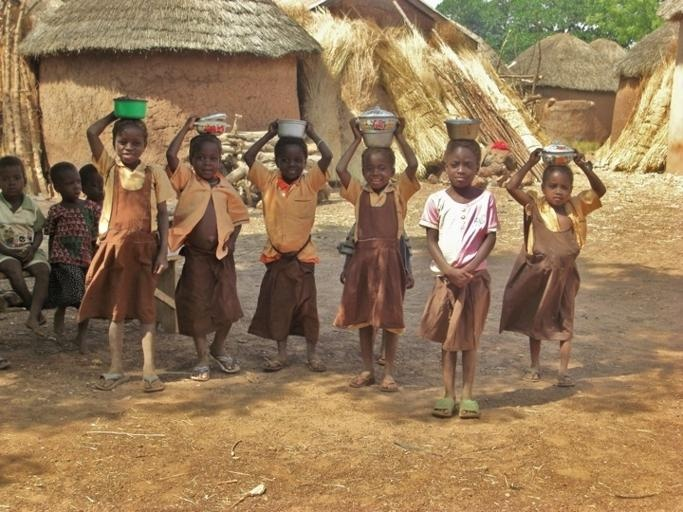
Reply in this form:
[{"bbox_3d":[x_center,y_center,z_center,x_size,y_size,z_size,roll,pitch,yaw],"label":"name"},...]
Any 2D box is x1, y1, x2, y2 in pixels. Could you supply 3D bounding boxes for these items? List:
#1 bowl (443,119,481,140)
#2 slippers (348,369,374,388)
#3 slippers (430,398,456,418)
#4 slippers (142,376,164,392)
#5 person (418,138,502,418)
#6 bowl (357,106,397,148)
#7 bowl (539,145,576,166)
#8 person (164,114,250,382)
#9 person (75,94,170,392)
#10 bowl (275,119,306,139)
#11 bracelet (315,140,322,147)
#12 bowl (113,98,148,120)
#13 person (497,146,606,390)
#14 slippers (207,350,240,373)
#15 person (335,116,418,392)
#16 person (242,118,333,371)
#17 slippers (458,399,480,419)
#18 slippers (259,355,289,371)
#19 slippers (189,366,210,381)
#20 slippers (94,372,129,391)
[{"bbox_3d":[0.816,-0.862,5.332,0.221,0.146,0.252,2,8,5],"label":"bowl"},{"bbox_3d":[0.161,0.893,5.696,0.208,0.110,0.082,0,7,-23],"label":"slippers"},{"bbox_3d":[0.679,1.011,5.229,0.121,0.075,0.267,2,-3,7],"label":"slippers"},{"bbox_3d":[-1.331,0.885,5.493,0.168,0.097,0.126,2,8,5],"label":"slippers"},{"bbox_3d":[0.803,0.125,5.328,0.521,1.825,0.640,1,9,-6],"label":"person"},{"bbox_3d":[0.251,-0.935,5.697,0.322,0.259,0.299,-1,5,0],"label":"bowl"},{"bbox_3d":[1.579,-0.742,5.703,0.239,0.150,0.196,4,8,15],"label":"bowl"},{"bbox_3d":[-0.986,-0.072,5.809,0.604,1.883,0.552,-1,9,-17],"label":"person"},{"bbox_3d":[-1.521,-0.104,5.534,0.643,2.029,0.613,-2,10,-25],"label":"person"},{"bbox_3d":[-0.374,-0.948,5.853,0.212,0.135,0.160,1,8,-5],"label":"bowl"},{"bbox_3d":[-0.173,-0.853,5.914,0.046,0.017,0.047,-21,35,-23],"label":"bracelet"},{"bbox_3d":[-1.492,-1.024,5.470,0.190,0.093,0.192,0,5,0],"label":"bowl"},{"bbox_3d":[1.532,0.061,5.851,0.691,1.698,0.482,5,9,21],"label":"person"},{"bbox_3d":[-0.891,0.805,5.918,0.233,0.062,0.127,22,24,35],"label":"slippers"},{"bbox_3d":[0.231,-0.031,5.683,0.600,1.930,0.447,3,9,9],"label":"person"},{"bbox_3d":[-0.419,-0.081,5.948,0.639,1.863,0.379,0,9,-7],"label":"person"},{"bbox_3d":[0.850,1.005,5.196,0.133,0.113,0.099,2,8,5],"label":"slippers"},{"bbox_3d":[-0.508,0.825,6.006,0.092,0.078,0.199,-4,-12,23],"label":"slippers"},{"bbox_3d":[-1.038,0.841,5.733,0.139,0.097,0.178,0,8,-11],"label":"slippers"},{"bbox_3d":[-1.636,0.863,5.546,0.160,0.099,0.248,2,8,5],"label":"slippers"}]
